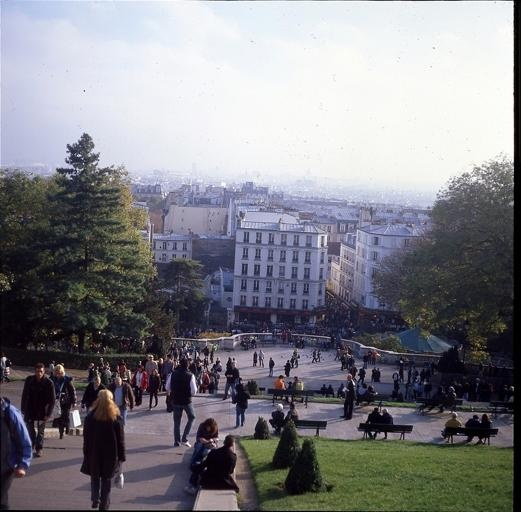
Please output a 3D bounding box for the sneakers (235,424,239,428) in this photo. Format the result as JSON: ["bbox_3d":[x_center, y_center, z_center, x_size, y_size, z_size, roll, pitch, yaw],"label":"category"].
[{"bbox_3d":[-0.648,4.547,23.297,0.112,0.134,0.065,1,11,8],"label":"sneakers"}]

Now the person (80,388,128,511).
[{"bbox_3d":[-2.863,3.543,15.861,0.753,2.253,0.438,1,-1,-11],"label":"person"}]

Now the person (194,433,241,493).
[{"bbox_3d":[-0.880,4.118,17.147,0.721,1.193,0.674,15,10,-14],"label":"person"}]

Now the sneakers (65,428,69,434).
[{"bbox_3d":[-4.375,3.953,19.701,0.089,0.142,0.080,2,-1,-29],"label":"sneakers"}]

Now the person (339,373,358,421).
[{"bbox_3d":[2.654,4.237,26.302,0.312,1.340,0.438,5,-3,2],"label":"person"}]

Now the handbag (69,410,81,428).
[{"bbox_3d":[-4.225,3.719,19.884,0.167,0.427,0.459,1,-1,8],"label":"handbag"}]

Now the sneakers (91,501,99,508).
[{"bbox_3d":[-3.025,4.567,15.948,0.109,0.133,0.069,6,-5,-23],"label":"sneakers"}]

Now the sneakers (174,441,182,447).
[{"bbox_3d":[-1.890,4.242,19.606,0.160,0.098,0.153,1,-1,11],"label":"sneakers"}]

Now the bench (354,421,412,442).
[{"bbox_3d":[3.308,4.721,23.623,1.564,0.479,0.981,2,-1,-16],"label":"bench"}]

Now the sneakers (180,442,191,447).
[{"bbox_3d":[-1.678,4.227,19.605,0.251,0.100,0.104,18,-33,-25],"label":"sneakers"}]

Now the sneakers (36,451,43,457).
[{"bbox_3d":[-4.643,4.155,18.240,0.072,0.119,0.118,4,-13,-41],"label":"sneakers"}]

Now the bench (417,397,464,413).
[{"bbox_3d":[5.879,4.887,28.704,1.460,0.415,2.009,1,-2,14],"label":"bench"}]

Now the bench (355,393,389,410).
[{"bbox_3d":[3.663,4.964,29.237,1.176,0.442,0.505,0,-43,12],"label":"bench"}]
